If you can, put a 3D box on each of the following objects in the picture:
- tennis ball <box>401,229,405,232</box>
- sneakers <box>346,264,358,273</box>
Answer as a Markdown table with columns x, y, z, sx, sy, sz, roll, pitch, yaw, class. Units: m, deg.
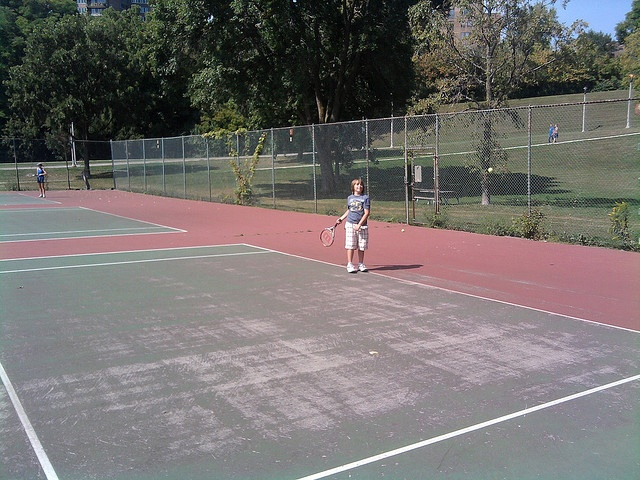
| x | y | z | sx | sy | sz | roll | pitch | yaw | class |
| --- | --- | --- | --- | --- | --- | --- | --- | --- | --- |
| 2.611 | -0.304 | 17.445 | 0.090 | 0.064 | 0.109 | -2 | 11 | -1 | tennis ball |
| 0.689 | 0.579 | 11.707 | 0.225 | 0.201 | 0.334 | -1 | 10 | 2 | sneakers |
